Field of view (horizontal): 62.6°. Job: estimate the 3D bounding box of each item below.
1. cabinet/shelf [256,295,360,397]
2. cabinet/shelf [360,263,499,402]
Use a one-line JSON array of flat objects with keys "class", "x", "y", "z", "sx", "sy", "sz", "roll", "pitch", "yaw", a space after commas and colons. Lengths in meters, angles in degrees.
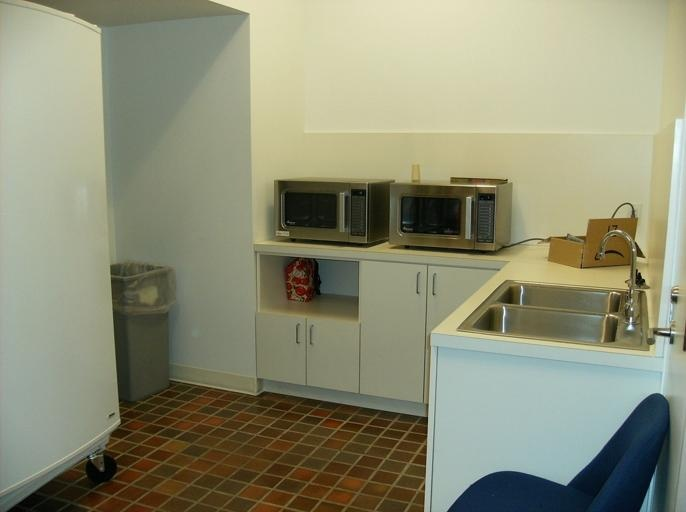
[{"class": "cabinet/shelf", "x": -0.187, "y": 0.526, "z": 3.590, "sx": 0.527, "sy": 0.570, "sz": 0.341, "roll": 0, "pitch": 0, "yaw": 22}, {"class": "cabinet/shelf", "x": 0.441, "y": 0.344, "z": 2.855, "sx": 0.790, "sy": 0.757, "sz": 0.284, "roll": 2, "pitch": 4, "yaw": 24}]
